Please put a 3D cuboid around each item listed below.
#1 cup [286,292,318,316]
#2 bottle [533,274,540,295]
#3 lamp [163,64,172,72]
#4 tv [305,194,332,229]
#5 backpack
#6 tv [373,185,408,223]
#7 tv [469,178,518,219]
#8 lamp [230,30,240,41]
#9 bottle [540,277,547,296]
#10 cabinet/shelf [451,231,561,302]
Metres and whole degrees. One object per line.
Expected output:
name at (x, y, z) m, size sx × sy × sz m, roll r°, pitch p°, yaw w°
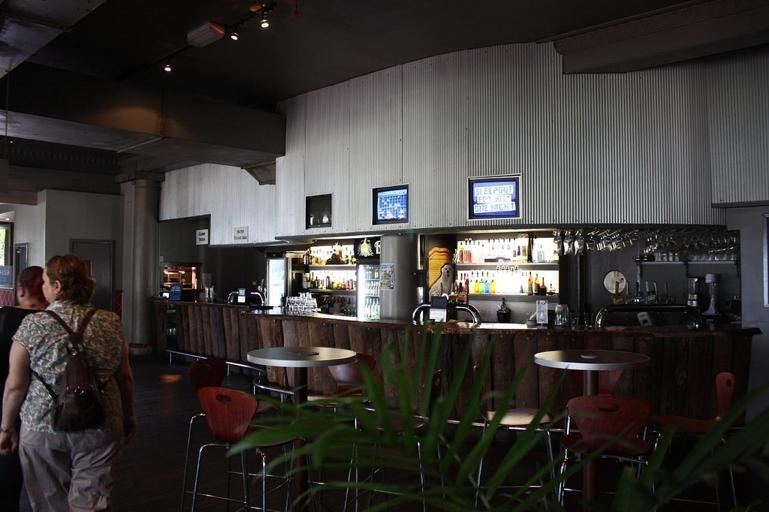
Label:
cup at (-1.377, 0.816, 9.859) m, size 0.408 × 0.293 × 0.560 m, roll 0°, pitch -3°, yaw -1°
bottle at (2.565, 0.447, 9.835) m, size 0.115 × 0.256 × 0.083 m, roll -1°, pitch 1°, yaw 9°
lamp at (-3.248, -2.802, 8.656) m, size 0.151 × 0.049 × 0.171 m, roll -2°, pitch 0°, yaw 10°
tv at (-1.123, -0.773, 10.035) m, size 0.586 × 0.577 × 0.287 m, roll -1°, pitch -1°, yaw 37°
backpack at (-2.346, 0.864, 4.390) m, size 0.471 × 1.011 × 0.268 m, roll -2°, pitch 1°, yaw -34°
tv at (0.116, -0.830, 9.164) m, size 0.602 × 0.539 × 0.232 m, roll 0°, pitch 0°, yaw 34°
tv at (1.599, -0.835, 8.394) m, size 0.573 × 0.449 × 0.079 m, roll -1°, pitch -8°, yaw 20°
lamp at (-2.007, -2.966, 7.798) m, size 0.118 × 0.114 × 0.118 m, roll 1°, pitch -31°, yaw -1°
bottle at (2.661, 0.487, 9.761) m, size 0.100 × 0.217 × 0.138 m, roll -1°, pitch 1°, yaw 15°
cabinet/shelf at (2.071, 0.105, 10.015) m, size 1.771 × 0.837 × 0.362 m, roll -1°, pitch 1°, yaw 18°
